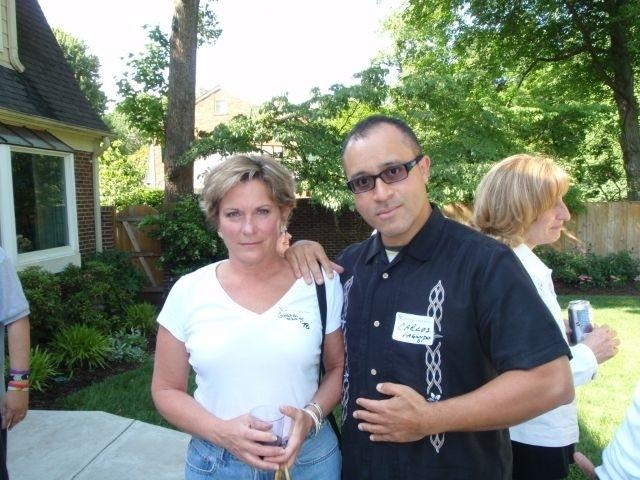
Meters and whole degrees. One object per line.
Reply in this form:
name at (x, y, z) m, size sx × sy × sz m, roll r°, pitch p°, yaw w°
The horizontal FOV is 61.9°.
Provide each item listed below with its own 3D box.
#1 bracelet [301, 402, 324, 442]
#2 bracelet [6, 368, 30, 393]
bracelet at (-0.041, 1.128, 3.309) m, size 0.057 × 0.162 × 0.146 m, roll -28°, pitch 21°, yaw -24°
bracelet at (-2.210, 1.021, 3.883) m, size 0.147 × 0.162 × 0.159 m, roll 1°, pitch -11°, yaw -5°
